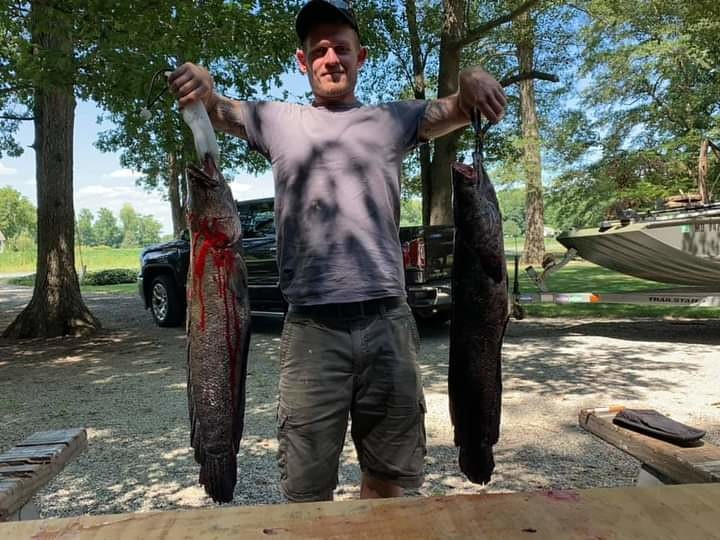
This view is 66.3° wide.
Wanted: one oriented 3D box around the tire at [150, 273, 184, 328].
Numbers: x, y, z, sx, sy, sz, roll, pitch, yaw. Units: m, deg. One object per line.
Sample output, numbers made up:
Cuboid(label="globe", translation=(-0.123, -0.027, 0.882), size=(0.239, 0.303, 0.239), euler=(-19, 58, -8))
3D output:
Cuboid(label="tire", translation=(-3.548, 0.541, 10.251), size=(0.991, 0.878, 0.357), euler=(-18, -11, 37))

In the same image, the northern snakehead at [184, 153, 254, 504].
Cuboid(label="northern snakehead", translation=(-0.582, 0.234, 2.257), size=(0.232, 1.377, 0.251), euler=(0, 2, 29))

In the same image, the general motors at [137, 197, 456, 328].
Cuboid(label="general motors", translation=(-1.078, -0.121, 9.727), size=(5.735, 1.914, 2.310), euler=(0, 1, 29))
